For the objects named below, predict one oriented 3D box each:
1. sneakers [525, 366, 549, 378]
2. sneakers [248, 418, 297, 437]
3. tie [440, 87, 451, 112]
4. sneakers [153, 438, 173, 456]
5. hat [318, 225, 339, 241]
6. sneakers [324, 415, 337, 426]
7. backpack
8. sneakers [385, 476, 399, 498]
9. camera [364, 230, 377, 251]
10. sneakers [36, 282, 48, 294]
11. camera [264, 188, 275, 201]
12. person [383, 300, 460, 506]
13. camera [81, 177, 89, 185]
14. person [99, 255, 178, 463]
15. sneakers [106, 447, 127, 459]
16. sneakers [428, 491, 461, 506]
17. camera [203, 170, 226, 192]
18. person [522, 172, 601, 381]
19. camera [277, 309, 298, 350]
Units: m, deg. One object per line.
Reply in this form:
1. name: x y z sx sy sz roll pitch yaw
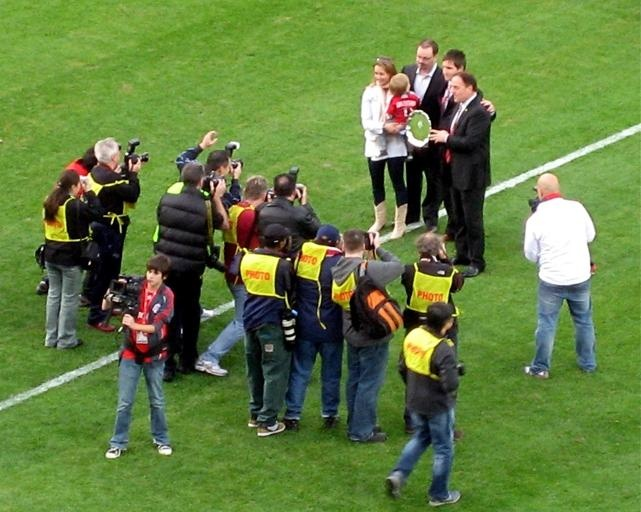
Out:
1. sneakers: 2.398 1.302 15.981 0.300 0.111 0.105 12 9 25
2. sneakers: -0.539 1.838 15.407 0.450 0.164 0.150 -3 26 -31
3. tie: 1.557 -1.994 17.951 0.106 0.250 0.199 10 10 -3
4. sneakers: -1.684 2.037 15.035 0.102 0.085 0.242 -5 3 -32
5. hat: 0.059 -0.263 15.125 0.254 0.168 0.202 -2 16 -1
6. sneakers: 0.092 1.785 15.455 0.145 0.124 0.053 -2 17 0
7. backpack: 0.537 0.516 14.903 0.386 0.607 0.458 -18 3 42
8. sneakers: 0.716 2.337 14.466 0.102 0.240 0.114 -6 4 26
9. camera: 0.508 -0.176 15.013 0.090 0.219 0.095 2 43 4
10. sneakers: -3.423 0.381 17.425 0.093 0.104 0.236 9 16 -14
11. camera: -0.602 -0.711 16.103 0.154 0.137 0.111 3 2 -3
12. person: 1.021 1.489 14.396 0.763 2.035 0.547 -1 18 4
13. camera: -2.730 -0.879 16.337 0.083 0.032 0.100 -1 19 -7
14. person: -1.894 1.062 14.886 0.939 2.082 0.562 -12 20 -29
15. sneakers: -2.178 2.072 14.986 0.103 0.081 0.212 2 -3 22
16. sneakers: 1.272 2.466 14.514 0.346 0.129 0.124 -14 37 -14
17. camera: -1.229 -0.851 15.968 0.215 0.108 0.253 -4 11 -1
18. person: 2.662 0.214 15.860 0.801 2.208 0.675 0 18 8
19. camera: -0.358 0.763 15.110 0.138 0.428 0.227 0 17 7
